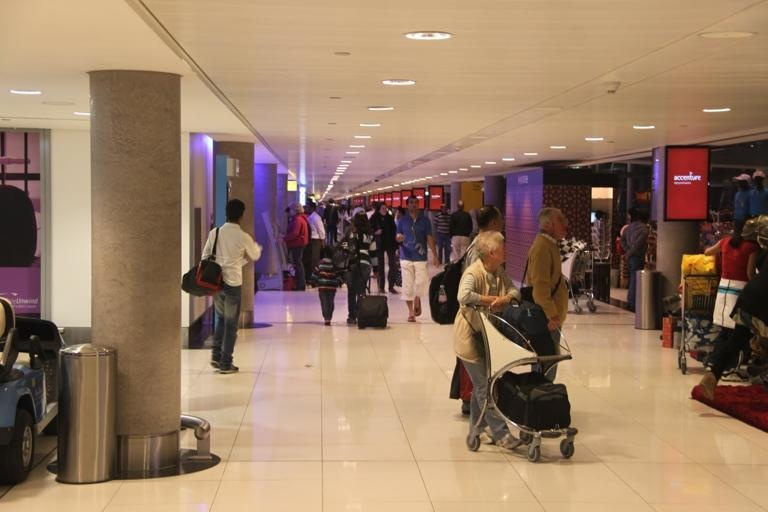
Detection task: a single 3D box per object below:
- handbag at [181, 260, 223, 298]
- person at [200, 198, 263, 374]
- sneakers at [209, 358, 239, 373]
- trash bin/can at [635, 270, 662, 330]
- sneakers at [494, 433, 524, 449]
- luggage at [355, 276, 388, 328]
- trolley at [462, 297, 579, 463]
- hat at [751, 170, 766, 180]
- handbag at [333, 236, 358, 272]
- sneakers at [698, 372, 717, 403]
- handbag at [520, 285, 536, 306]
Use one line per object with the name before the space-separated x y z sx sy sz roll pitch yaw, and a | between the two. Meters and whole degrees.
handbag | -2.560 0.313 8.830 0.563 0.550 0.313 7 14 1
person | -2.286 0.429 9.165 0.568 2.509 0.722 4 6 39
sneakers | -2.345 1.588 9.184 0.401 0.171 0.168 2 1 -34
trash bin/can | 5.351 0.884 12.740 0.466 1.187 0.235 3 5 24
sneakers | 1.297 1.929 6.537 0.158 0.111 0.274 1 -6 -27
luggage | -0.232 1.037 12.454 0.484 0.699 0.669 0 15 6
trolley | 1.431 1.269 6.434 0.923 1.422 0.841 -2 -8 43
hat | 7.041 -1.528 11.842 0.156 0.162 0.677 4 6 33
handbag | -0.768 -0.054 12.491 0.600 0.652 0.477 -1 -2 4
sneakers | 3.889 1.556 7.538 0.138 0.183 0.418 4 27 10
handbag | 1.589 0.421 7.014 0.158 0.284 0.214 -1 4 5
